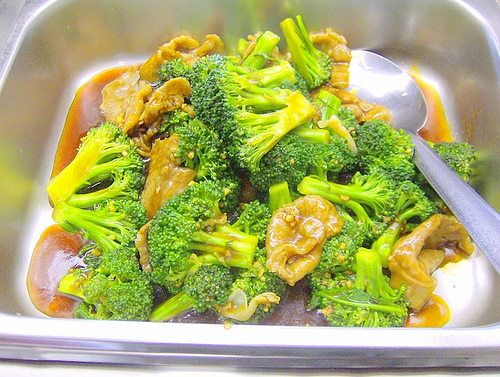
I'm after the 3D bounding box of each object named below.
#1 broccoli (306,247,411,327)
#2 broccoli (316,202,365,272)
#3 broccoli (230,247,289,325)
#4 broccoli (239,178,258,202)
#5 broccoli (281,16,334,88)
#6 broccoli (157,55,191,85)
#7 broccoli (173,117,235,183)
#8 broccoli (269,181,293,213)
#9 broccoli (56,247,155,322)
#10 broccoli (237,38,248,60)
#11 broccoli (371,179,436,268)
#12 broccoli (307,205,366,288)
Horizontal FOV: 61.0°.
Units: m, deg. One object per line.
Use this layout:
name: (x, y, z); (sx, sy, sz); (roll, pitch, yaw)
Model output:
broccoli: (0.743, 0.650, 2.927); (0.522, 0.522, 0.147); (13, -8, 4)
broccoli: (0.577, 0.303, 2.773); (0.293, 0.340, 0.147); (-10, -11, -11)
broccoli: (0.046, 0.582, 2.746); (0.399, 0.444, 0.168); (-10, 2, -1)
broccoli: (-0.021, 0.013, 2.881); (0.070, 0.142, 0.143); (-11, 27, 18)
broccoli: (0.468, -1.183, 3.357); (0.249, 0.368, 0.658); (25, 37, -5)
broccoli: (-0.541, -0.843, 3.068); (0.209, 0.110, 0.255); (-26, 21, 15)
broccoli: (-0.306, -0.286, 2.880); (0.414, 0.324, 0.227); (27, 25, 0)
broccoli: (0.188, 0.049, 2.848); (0.159, 0.175, 0.165); (-24, 20, 21)
broccoli: (-0.881, 0.589, 2.547); (0.496, 0.450, 0.213); (-13, -27, -8)
broccoli: (-0.063, -1.103, 3.326); (0.079, 0.158, 0.050); (13, -9, -21)
broccoli: (0.959, 0.224, 2.816); (0.294, 0.550, 0.127); (43, -9, 11)
broccoli: (0.529, 0.405, 2.692); (0.335, 0.408, 0.174); (12, -14, 39)
